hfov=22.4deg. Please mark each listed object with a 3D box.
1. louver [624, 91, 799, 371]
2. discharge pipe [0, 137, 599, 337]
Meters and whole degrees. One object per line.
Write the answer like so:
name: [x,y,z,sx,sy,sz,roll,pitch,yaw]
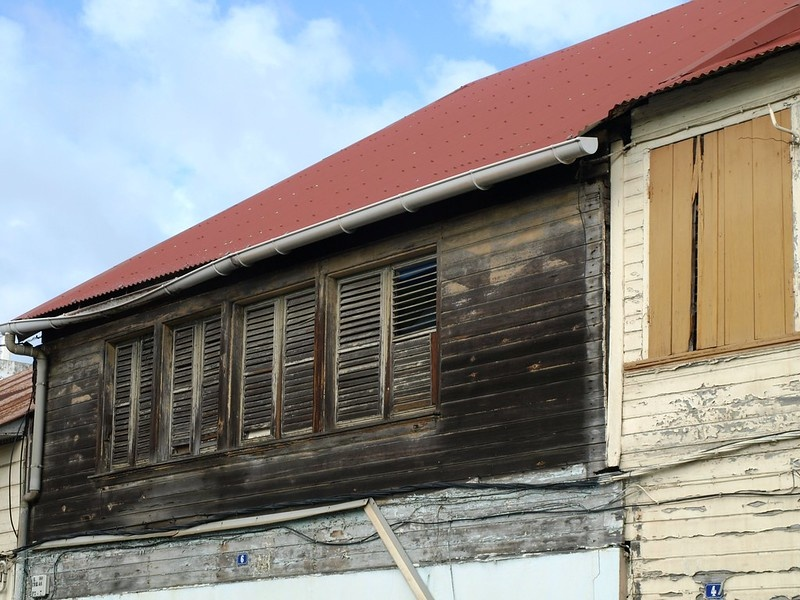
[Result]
louver: [3.186,-0.619,20.410,2.660,3.193,0.415,-11,-20,36]
discharge pipe: [-0.085,-0.568,22.466,10.695,0.476,0.629,-11,-46,29]
